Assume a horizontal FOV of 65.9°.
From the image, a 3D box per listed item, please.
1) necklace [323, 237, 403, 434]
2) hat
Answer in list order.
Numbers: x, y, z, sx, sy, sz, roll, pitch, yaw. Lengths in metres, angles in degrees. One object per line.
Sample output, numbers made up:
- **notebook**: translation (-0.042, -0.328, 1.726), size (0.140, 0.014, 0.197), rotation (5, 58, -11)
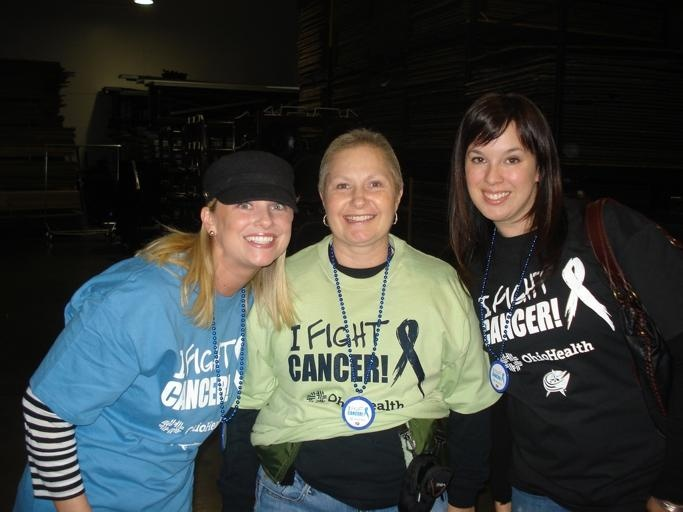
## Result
- **necklace**: translation (0.100, 0.365, 2.515), size (0.320, 0.870, 0.270), rotation (-1, -1, -1)
- **hat**: translation (-0.396, -0.353, 2.410), size (0.406, 0.244, 0.523), rotation (-1, 5, -30)
